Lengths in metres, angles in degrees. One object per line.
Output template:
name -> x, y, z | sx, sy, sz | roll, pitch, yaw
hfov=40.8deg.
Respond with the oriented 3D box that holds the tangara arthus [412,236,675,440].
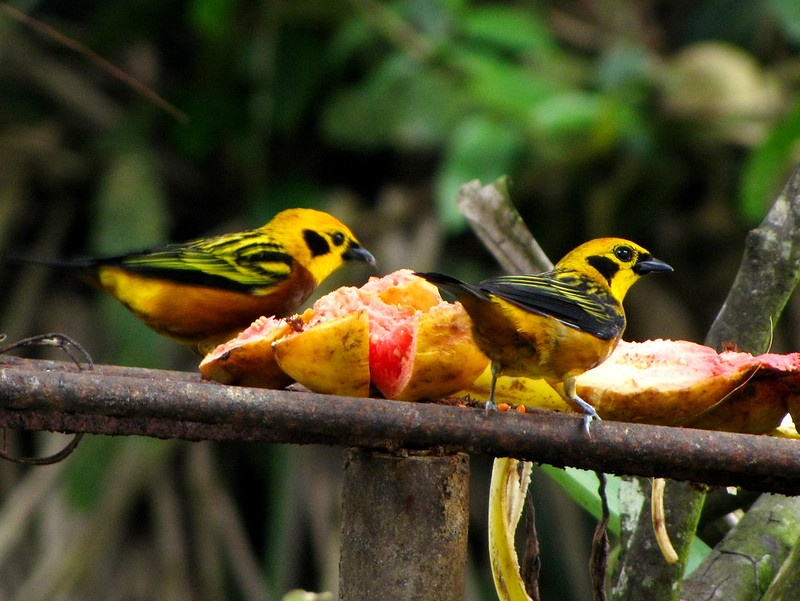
tangara arthus -> 0.440, 0.062, 3.542 | 0.987, 0.659, 0.449 | 10, -10, -36
